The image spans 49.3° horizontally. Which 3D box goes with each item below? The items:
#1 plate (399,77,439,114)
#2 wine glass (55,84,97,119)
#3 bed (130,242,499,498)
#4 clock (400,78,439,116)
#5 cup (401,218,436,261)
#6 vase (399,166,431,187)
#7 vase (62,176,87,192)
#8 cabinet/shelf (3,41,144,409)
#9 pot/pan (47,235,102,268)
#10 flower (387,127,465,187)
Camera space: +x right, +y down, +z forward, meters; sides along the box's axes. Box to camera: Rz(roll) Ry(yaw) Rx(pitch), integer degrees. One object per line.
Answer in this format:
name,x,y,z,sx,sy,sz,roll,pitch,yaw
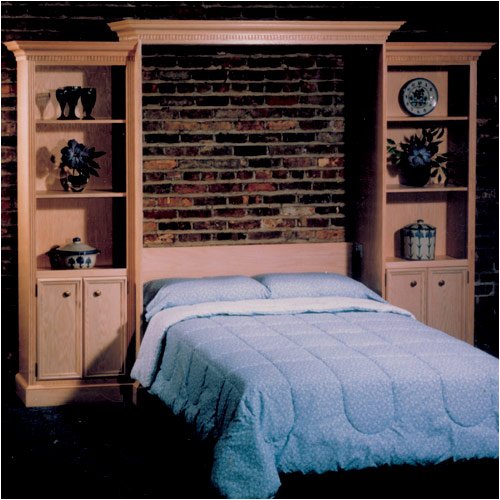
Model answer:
plate,1.154,-1.044,3.707,0.264,0.242,0.059,-4,5,-11
wine glass,-1.059,-0.907,3.305,0.270,0.183,0.103,0,10,-5
bed,0.160,0.323,2.547,0.998,0.538,1.415,-1,5,-15
clock,1.148,-1.041,3.707,0.274,0.252,0.060,-4,5,-11
cup,1.063,-0.054,3.605,0.257,0.268,0.259,0,3,0
vase,1.113,-0.495,3.716,0.150,0.095,0.162,0,5,-7
vase,-1.079,-0.397,3.352,0.131,0.077,0.126,-1,7,-9
cabinet/shelf,-1.046,-0.151,3.311,0.938,2.138,0.630,-5,13,-9
pot/pan,-1.068,-0.012,3.322,0.261,0.133,0.211,-1,4,-12
flower,1.192,-0.642,3.737,0.478,0.304,0.148,-1,0,-12
